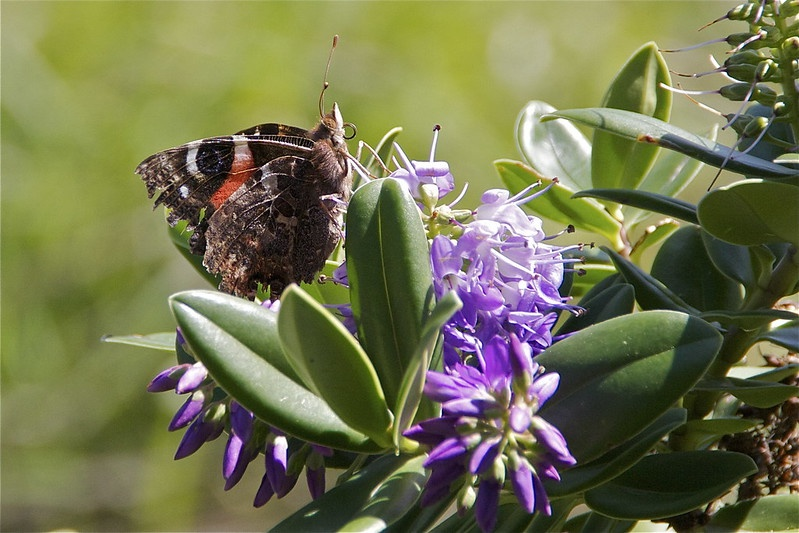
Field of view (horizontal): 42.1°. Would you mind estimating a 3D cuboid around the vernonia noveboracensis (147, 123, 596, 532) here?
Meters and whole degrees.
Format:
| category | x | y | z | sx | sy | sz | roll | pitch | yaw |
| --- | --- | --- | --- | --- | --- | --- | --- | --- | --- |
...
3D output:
| category | x | y | z | sx | sy | sz | roll | pitch | yaw |
| --- | --- | --- | --- | --- | --- | --- | --- | --- | --- |
| vernonia noveboracensis | -0.098 | 0.042 | 3.228 | 1.285 | 1.579 | 0.689 | -13 | -38 | 8 |
